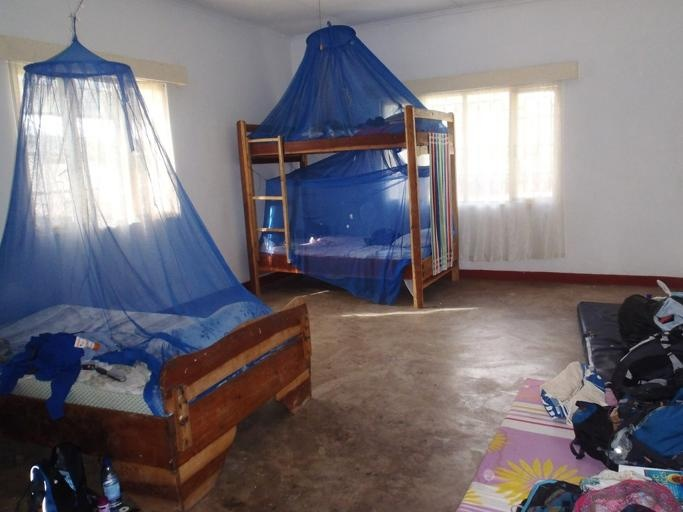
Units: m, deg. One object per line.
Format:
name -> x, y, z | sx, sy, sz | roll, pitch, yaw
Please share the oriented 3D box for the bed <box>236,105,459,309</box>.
bed -> 0.089, -0.678, 6.266 | 2.240, 2.047, 1.443 | 1, 12, 25
